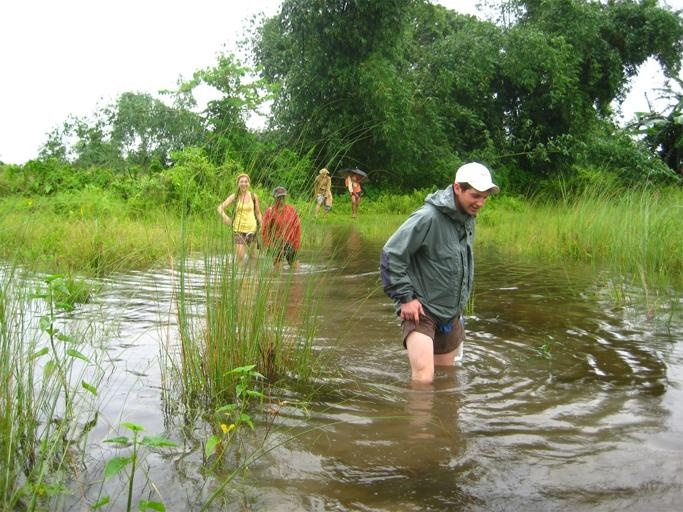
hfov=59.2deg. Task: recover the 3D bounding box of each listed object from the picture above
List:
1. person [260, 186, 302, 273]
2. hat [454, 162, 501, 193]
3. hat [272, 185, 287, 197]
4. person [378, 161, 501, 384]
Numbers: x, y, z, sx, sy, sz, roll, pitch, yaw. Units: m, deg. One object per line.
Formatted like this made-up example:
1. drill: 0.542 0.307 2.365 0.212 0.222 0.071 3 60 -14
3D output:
1. person: -0.653 -0.181 6.432 0.374 1.142 0.265 -2 24 -6
2. hat: 1.309 -0.816 5.918 0.280 0.259 0.397 2 12 -29
3. hat: -0.648 -0.665 6.256 0.102 0.065 0.144 1 14 2
4. person: 0.950 0.184 6.106 1.137 2.183 0.867 -1 -2 -5
